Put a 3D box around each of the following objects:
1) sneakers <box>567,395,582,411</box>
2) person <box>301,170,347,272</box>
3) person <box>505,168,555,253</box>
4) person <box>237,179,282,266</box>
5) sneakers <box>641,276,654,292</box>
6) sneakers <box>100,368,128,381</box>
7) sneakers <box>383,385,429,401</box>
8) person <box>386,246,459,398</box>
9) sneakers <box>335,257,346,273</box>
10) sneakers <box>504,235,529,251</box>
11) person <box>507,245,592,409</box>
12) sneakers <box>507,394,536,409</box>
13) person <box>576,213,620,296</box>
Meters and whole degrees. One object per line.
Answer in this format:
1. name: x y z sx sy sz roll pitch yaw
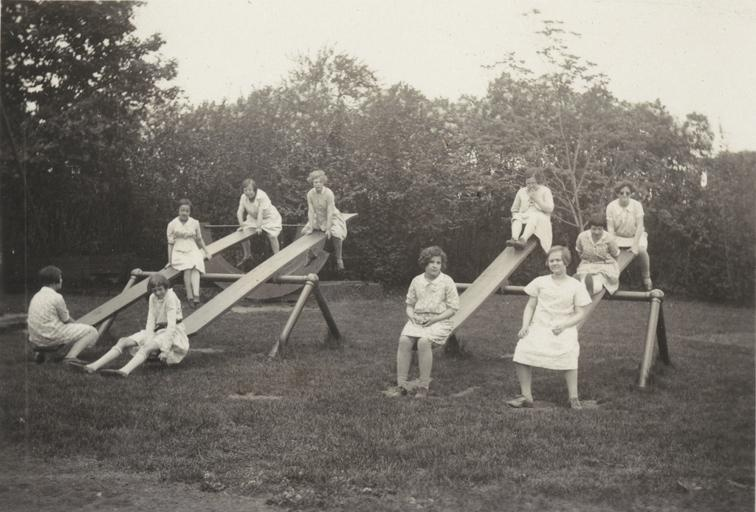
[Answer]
1. sneakers: 2.072 1.565 9.091 0.092 0.135 0.149 3 -11 -17
2. person: -0.724 -0.519 11.372 0.690 1.221 0.671 4 18 19
3. person: 1.909 -0.565 10.747 0.519 0.837 0.534 2 -1 10
4. person: -1.632 -0.477 12.041 0.643 1.214 0.601 5 19 23
5. sneakers: 3.208 0.328 10.299 0.130 0.137 0.083 2 -1 29
6. sneakers: -2.913 1.311 9.493 0.224 0.094 0.129 18 -17 -10
7. sneakers: 0.294 1.484 9.397 0.505 0.117 0.201 2 -2 8
8. person: 0.494 0.724 9.502 0.738 1.436 0.338 2 -1 2
9. sneakers: -0.502 0.114 11.524 0.128 0.141 0.311 -8 14 2
10. sneakers: 1.722 -0.158 10.652 0.166 0.111 0.261 24 -3 21
11. person: 1.869 0.762 9.276 0.862 1.411 0.427 2 -1 12
12. sneakers: 1.514 1.560 9.196 0.261 0.106 0.129 1 -1 2
13. person: 2.592 0.037 10.158 0.503 0.707 0.973 0 20 18
